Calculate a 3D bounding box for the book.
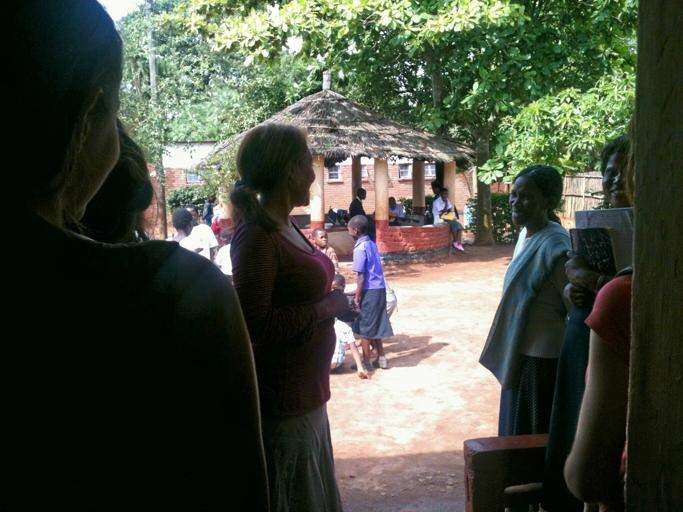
[{"bbox_3d":[0.875,-0.037,2.332,0.228,0.182,0.128,-19,15,-34],"label":"book"}]
